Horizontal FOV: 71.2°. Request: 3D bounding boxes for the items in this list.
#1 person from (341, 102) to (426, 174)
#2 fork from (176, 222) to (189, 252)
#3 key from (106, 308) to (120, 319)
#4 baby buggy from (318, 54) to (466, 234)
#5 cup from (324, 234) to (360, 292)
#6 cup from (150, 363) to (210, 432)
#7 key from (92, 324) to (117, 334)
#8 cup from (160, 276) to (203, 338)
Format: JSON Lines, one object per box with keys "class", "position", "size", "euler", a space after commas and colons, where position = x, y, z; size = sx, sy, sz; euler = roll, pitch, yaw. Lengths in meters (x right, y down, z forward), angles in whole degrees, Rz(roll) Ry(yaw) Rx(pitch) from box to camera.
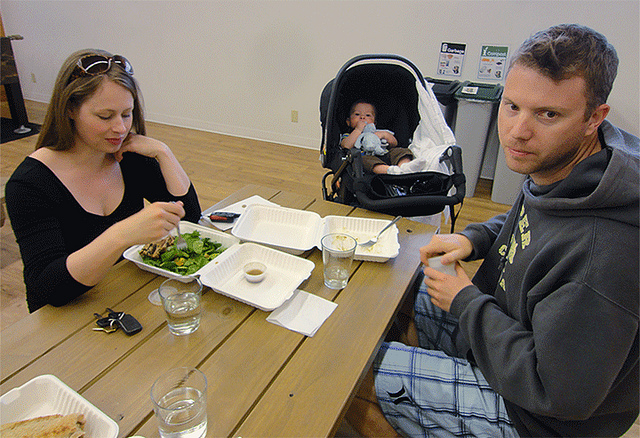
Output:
{"class": "person", "position": [0.403, -0.581, 3.192], "size": [0.406, 0.437, 0.744], "euler": [-13, 31, -23]}
{"class": "fork", "position": [-0.578, 0.071, 1.874], "size": [0.027, 0.018, 0.151], "euler": [-10, 51, -21]}
{"class": "key", "position": [-0.760, 0.342, 1.621], "size": [0.024, 0.010, 0.041], "euler": [-14, 23, -36]}
{"class": "baby buggy", "position": [0.437, -0.464, 2.987], "size": [0.736, 1.161, 1.143], "euler": [-8, 26, -19]}
{"class": "cup", "position": [0.066, 0.187, 1.849], "size": [0.163, 0.219, 0.152], "euler": [3, 14, -1]}
{"class": "cup", "position": [-0.426, 0.564, 1.365], "size": [0.160, 0.164, 0.140], "euler": [-9, 26, -22]}
{"class": "key", "position": [-0.766, 0.391, 1.591], "size": [0.056, 0.010, 0.033], "euler": [3, 5, 0]}
{"class": "cup", "position": [-0.517, 0.304, 1.663], "size": [0.145, 0.146, 0.229], "euler": [-7, 25, -17]}
